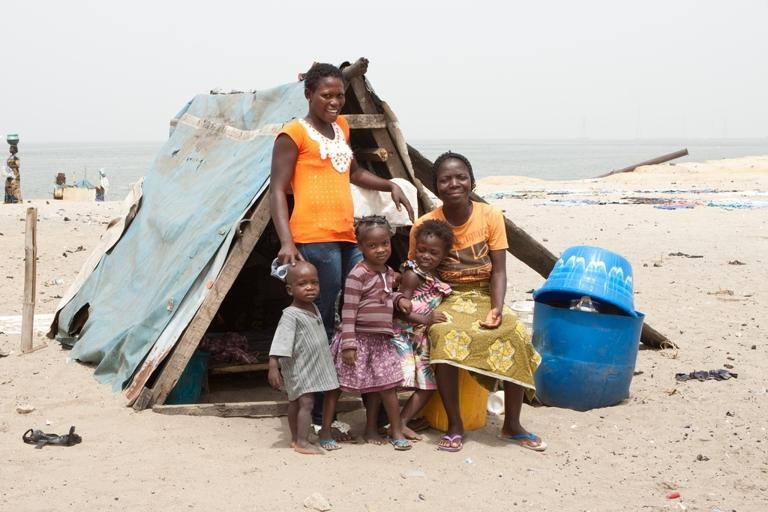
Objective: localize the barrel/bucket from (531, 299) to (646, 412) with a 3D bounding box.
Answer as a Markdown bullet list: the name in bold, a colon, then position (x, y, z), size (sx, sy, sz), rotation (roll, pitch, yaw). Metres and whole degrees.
- **barrel/bucket**: position (1.923, 1.039, 6.729), size (1.194, 0.833, 1.048), rotation (3, 3, -43)

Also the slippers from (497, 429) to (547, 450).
- **slippers**: position (1.186, 1.549, 5.547), size (0.309, 0.061, 0.142), rotation (4, 7, 39)

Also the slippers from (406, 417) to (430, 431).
- **slippers**: position (0.292, 1.475, 5.762), size (0.264, 0.085, 0.078), rotation (-10, 9, -2)

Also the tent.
- **tent**: position (-2.214, -0.388, 8.066), size (4.101, 2.503, 4.554), rotation (-6, 3, -34)

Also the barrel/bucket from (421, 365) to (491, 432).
- **barrel/bucket**: position (0.596, 1.248, 5.954), size (0.592, 0.531, 0.617), rotation (1, 12, 0)

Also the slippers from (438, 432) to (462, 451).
- **slippers**: position (0.546, 1.532, 5.386), size (0.161, 0.074, 0.352), rotation (-1, -6, 6)

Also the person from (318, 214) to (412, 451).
- **person**: position (-0.148, 0.620, 5.391), size (0.755, 1.906, 0.388), rotation (0, 7, -4)

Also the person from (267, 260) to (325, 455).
- **person**: position (-0.720, 0.807, 5.317), size (0.413, 1.550, 0.430), rotation (0, 7, -9)
